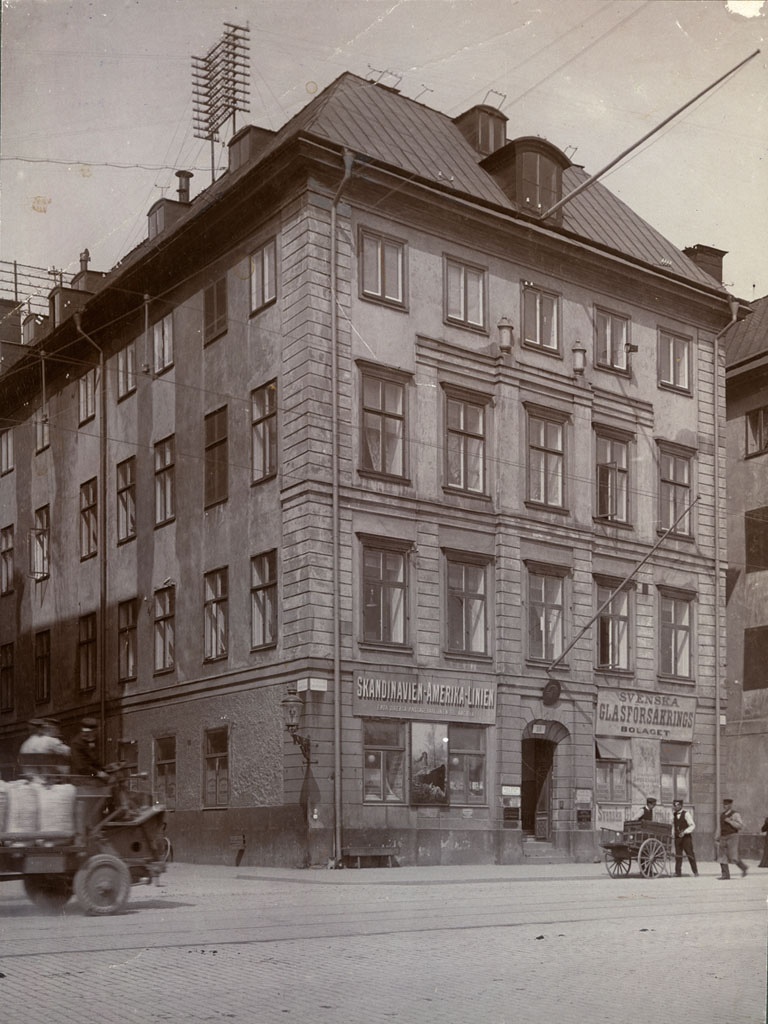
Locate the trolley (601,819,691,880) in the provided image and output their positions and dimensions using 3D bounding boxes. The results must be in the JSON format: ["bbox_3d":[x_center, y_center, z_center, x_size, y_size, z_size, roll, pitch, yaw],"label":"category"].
[{"bbox_3d":[4.373,5.718,36.484,1.044,1.022,1.279,-2,-12,15],"label":"trolley"}]

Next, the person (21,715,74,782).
[{"bbox_3d":[-4.063,2.853,25.817,0.607,0.890,1.555,2,-12,-9],"label":"person"}]

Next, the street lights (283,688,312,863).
[{"bbox_3d":[-1.474,4.719,38.096,0.547,3.138,0.546,-1,-9,9],"label":"street lights"}]
